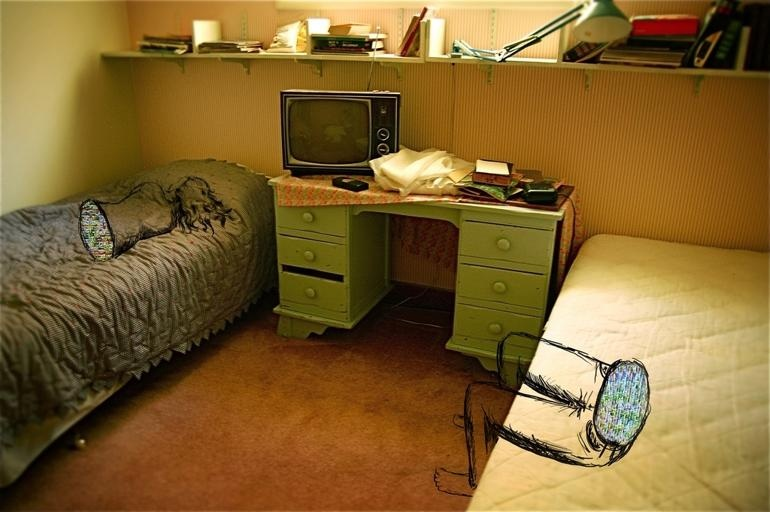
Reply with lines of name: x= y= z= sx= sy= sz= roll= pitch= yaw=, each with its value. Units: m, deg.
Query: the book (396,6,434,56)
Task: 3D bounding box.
book: x=0.145 y=-1.157 z=2.694 sx=0.143 sy=0.240 sz=0.079 roll=10 pitch=23 yaw=15

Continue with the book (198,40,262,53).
book: x=-0.884 y=-1.210 z=3.018 sx=0.374 sy=0.079 sz=0.224 roll=-2 pitch=22 yaw=-14

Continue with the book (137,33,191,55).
book: x=-1.297 y=-1.266 z=3.115 sx=0.385 sy=0.110 sz=0.155 roll=11 pitch=23 yaw=20
